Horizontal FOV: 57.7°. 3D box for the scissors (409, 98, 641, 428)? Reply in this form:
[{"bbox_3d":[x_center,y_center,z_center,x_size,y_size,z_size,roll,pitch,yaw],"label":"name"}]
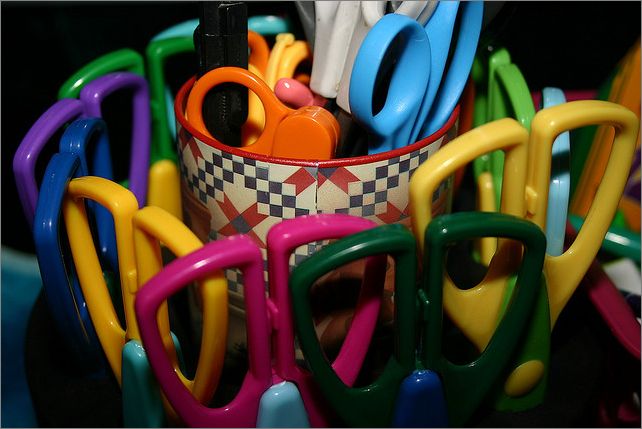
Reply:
[{"bbox_3d":[0.219,0.061,0.632,0.256,0.326,0.055,-29,35,-24],"label":"scissors"}]

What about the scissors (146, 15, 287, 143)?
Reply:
[{"bbox_3d":[-0.148,-0.198,0.890,0.062,0.200,0.186,7,12,28],"label":"scissors"}]

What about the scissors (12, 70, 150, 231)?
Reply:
[{"bbox_3d":[-0.295,-0.081,0.705,0.021,0.199,0.160,25,51,16],"label":"scissors"}]

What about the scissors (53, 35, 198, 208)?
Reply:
[{"bbox_3d":[-0.257,-0.123,0.761,0.026,0.180,0.201,19,44,19],"label":"scissors"}]

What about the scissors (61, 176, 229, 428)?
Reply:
[{"bbox_3d":[-0.183,0.097,0.595,0.026,0.208,0.189,-22,44,-32],"label":"scissors"}]
